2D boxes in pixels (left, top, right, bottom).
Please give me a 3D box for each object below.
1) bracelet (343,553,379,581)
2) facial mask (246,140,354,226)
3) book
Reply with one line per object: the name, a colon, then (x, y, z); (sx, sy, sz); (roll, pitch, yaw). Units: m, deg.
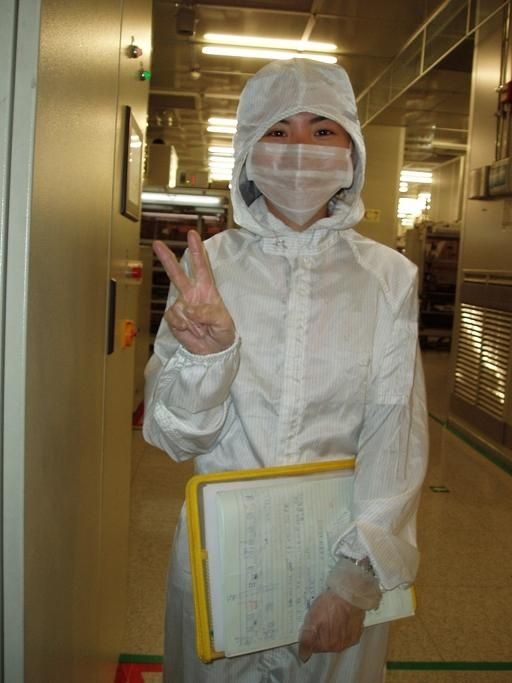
bracelet: (0.179, 0.380, 0.988); (0.042, 0.014, 0.045); (22, 28, -27)
facial mask: (0.094, -0.347, 1.204); (0.244, 0.142, 0.245); (2, 27, 0)
book: (0.051, 0.367, 1.001); (0.286, 0.275, 0.086); (-2, 8, -31)
